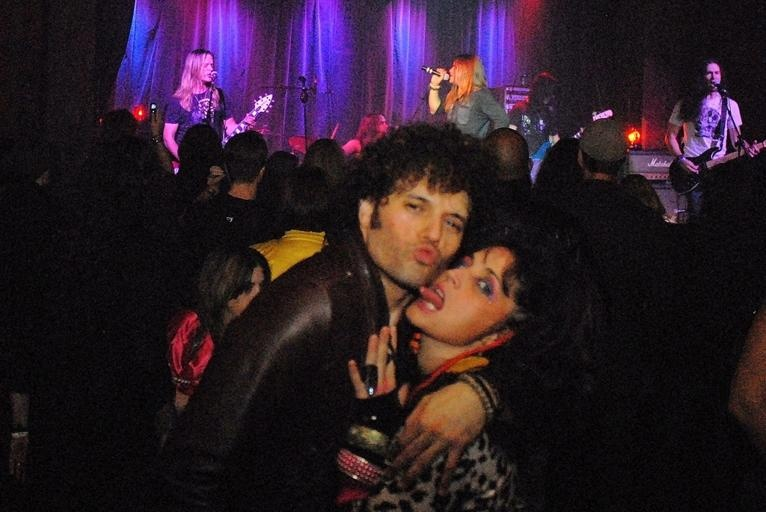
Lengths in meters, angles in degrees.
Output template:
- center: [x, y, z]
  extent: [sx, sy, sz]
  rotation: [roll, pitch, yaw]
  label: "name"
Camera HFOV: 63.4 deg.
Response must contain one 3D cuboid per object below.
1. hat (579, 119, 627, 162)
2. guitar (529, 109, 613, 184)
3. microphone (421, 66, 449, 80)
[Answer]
- center: [1.069, -0.545, 2.962]
  extent: [0.175, 0.131, 0.235]
  rotation: [12, 29, 10]
  label: "hat"
- center: [0.990, -0.582, 3.305]
  extent: [0.600, 0.237, 0.085]
  rotation: [-41, 19, -18]
  label: "guitar"
- center: [0.252, -0.969, 3.296]
  extent: [0.051, 0.048, 0.172]
  rotation: [-26, 40, -21]
  label: "microphone"
